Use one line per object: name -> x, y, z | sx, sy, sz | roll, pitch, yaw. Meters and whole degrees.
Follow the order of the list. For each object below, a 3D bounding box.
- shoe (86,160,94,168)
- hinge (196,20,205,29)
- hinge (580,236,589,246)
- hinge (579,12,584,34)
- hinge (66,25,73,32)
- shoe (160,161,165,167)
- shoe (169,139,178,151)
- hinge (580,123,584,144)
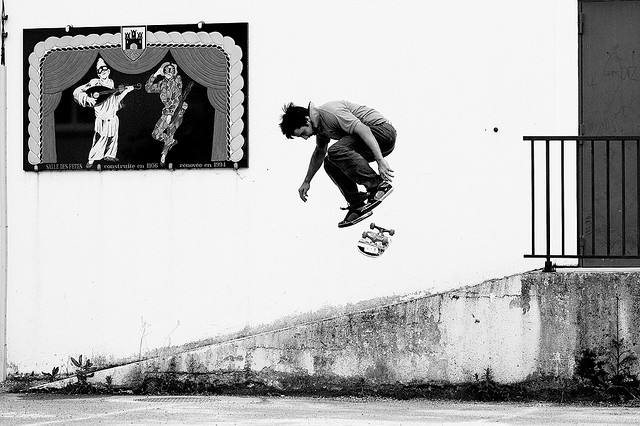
shoe -> -3.312, -0.715, 18.214 | 0.091, 0.072, 0.009 | -1, -8, 4
hinge -> -1.702, -2.706, 18.061 | 0.107, 0.107, 0.023 | 2, 6, 13
hinge -> 3.692, 0.361, 17.813 | 0.127, 0.116, 0.031 | 4, 1, -1
hinge -> 3.654, -2.676, 17.757 | 0.047, 0.296, 0.066 | -8, -11, 44
hinge -> -3.600, -2.668, 18.202 | 0.075, 0.086, 0.051 | -5, 33, 11
shoe -> -2.248, -0.729, 18.109 | 0.095, 0.087, 0.022 | 0, 1, -2
shoe -> -2.090, -0.998, 18.094 | 0.119, 0.148, 0.017 | -2, -9, 15
hinge -> 3.669, -1.202, 17.763 | 0.024, 0.168, 0.084 | -8, -11, 44
